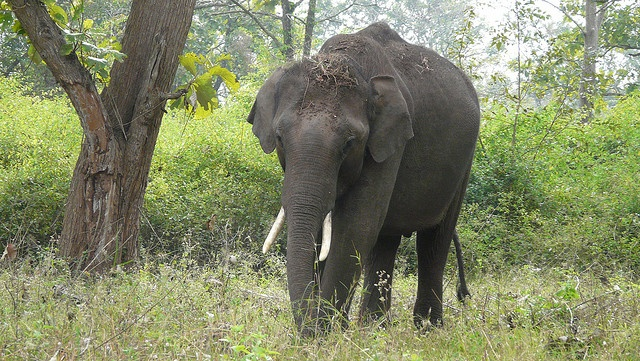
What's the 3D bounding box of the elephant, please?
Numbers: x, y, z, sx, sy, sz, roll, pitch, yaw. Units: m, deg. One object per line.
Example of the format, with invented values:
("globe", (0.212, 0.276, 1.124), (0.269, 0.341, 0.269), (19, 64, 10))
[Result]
("elephant", (0.786, -0.092, 9.345), (3.419, 4.986, 1.499), (18, -18, -34))
